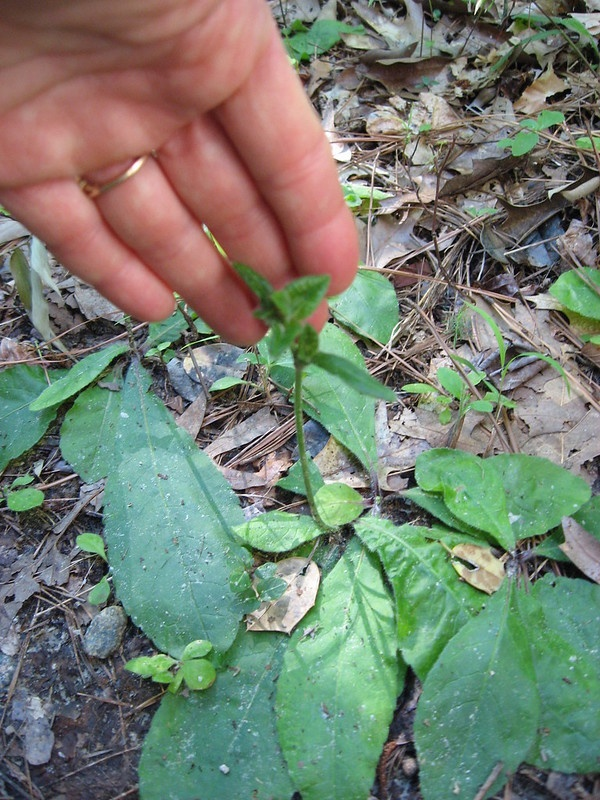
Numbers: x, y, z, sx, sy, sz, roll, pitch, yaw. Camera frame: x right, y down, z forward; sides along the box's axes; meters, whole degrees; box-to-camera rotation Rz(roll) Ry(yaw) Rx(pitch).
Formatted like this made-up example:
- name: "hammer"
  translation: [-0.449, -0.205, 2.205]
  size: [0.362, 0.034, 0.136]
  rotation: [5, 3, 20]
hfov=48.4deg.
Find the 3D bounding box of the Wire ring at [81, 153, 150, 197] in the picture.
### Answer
- name: "Wire ring"
  translation: [-0.475, -0.566, 1.712]
  size: [0.134, 0.104, 0.034]
  rotation: [-29, 70, 4]
